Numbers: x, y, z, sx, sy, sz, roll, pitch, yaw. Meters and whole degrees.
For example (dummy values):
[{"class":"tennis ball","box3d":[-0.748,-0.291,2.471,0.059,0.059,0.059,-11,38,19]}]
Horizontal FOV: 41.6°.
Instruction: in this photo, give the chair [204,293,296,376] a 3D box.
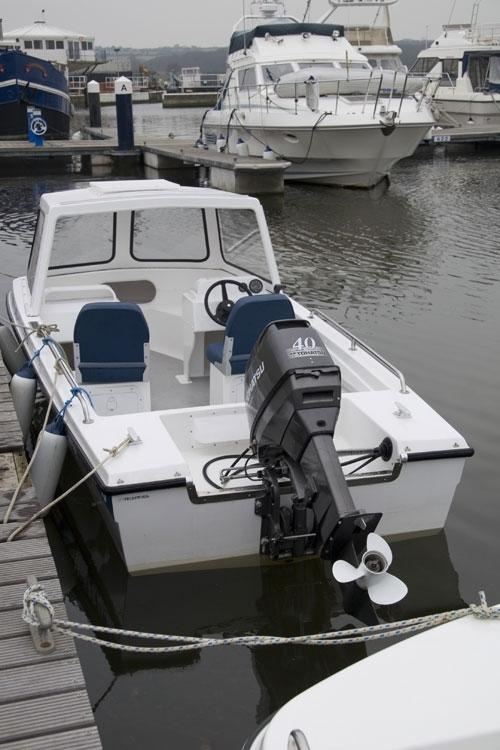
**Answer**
[{"class":"chair","box3d":[-0.027,-0.225,3.270,0.445,0.422,0.373,-2,29,-18]}]

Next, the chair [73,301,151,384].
[{"class":"chair","box3d":[-0.663,-0.185,3.236,0.323,0.435,0.427,-1,24,-14]}]
